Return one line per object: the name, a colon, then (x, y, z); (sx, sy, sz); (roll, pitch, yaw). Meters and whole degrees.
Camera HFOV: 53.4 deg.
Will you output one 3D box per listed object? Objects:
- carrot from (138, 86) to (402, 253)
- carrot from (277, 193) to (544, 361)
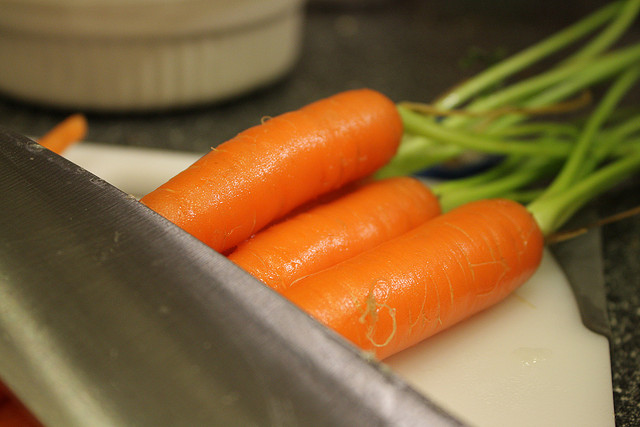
carrot: (-0.048, -0.049, 0.699); (0.110, 0.114, 0.392); (38, 38, 23)
carrot: (0.106, 0.074, 0.673); (0.315, 0.113, 0.102); (-22, 37, -27)
